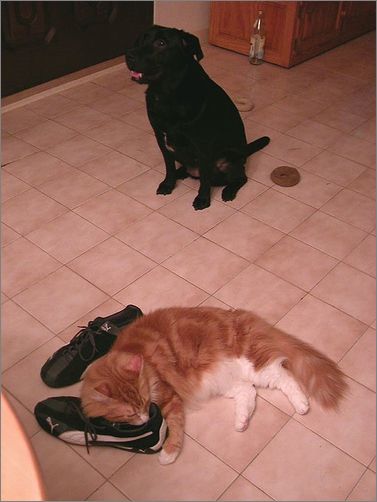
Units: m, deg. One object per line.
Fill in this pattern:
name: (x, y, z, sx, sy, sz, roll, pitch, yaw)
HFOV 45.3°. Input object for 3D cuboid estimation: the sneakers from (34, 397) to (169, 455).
sneakers: (-0.240, 0.500, 1.381, 0.424, 0.171, 0.156, 10, 64, -2)

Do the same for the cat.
cat: (0.044, 0.379, 1.441, 0.617, 0.217, 0.482, -25, 40, -28)

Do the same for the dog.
dog: (0.026, -0.655, 2.241, 0.541, 0.859, 0.374, 5, 40, 8)
